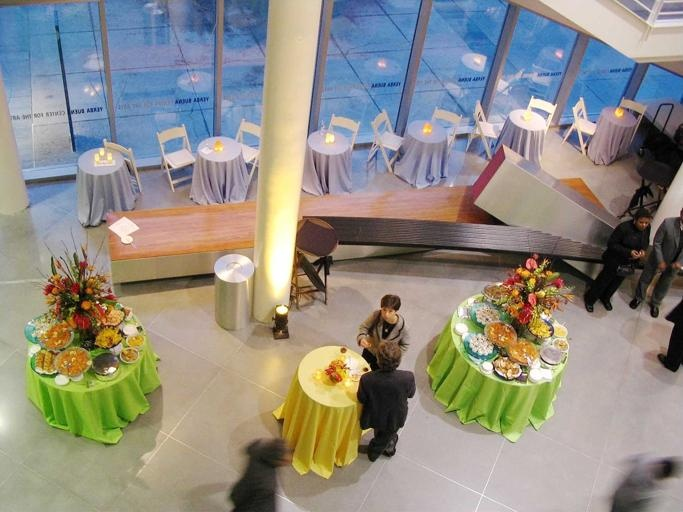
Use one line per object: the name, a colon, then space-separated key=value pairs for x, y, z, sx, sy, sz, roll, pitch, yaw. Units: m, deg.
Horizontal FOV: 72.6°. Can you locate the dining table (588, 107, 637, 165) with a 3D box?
dining table: x=5.580 y=-2.444 z=9.556 sx=0.785 sy=0.957 sz=0.733 roll=-20 pitch=57 yaw=-20

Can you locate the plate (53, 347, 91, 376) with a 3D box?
plate: x=-2.672 y=1.059 z=4.613 sx=0.300 sy=0.141 sz=0.271 roll=23 pitch=38 yaw=30

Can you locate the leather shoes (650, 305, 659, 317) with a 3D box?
leather shoes: x=4.727 y=0.831 z=7.034 sx=0.090 sy=0.077 sz=0.198 roll=-2 pitch=75 yaw=7

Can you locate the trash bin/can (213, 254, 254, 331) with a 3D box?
trash bin/can: x=-1.350 y=0.466 z=5.812 sx=0.542 sy=0.962 sz=0.574 roll=11 pitch=43 yaw=-3

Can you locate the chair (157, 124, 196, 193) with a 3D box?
chair: x=-2.774 y=-1.679 z=7.863 sx=0.603 sy=0.812 sz=0.556 roll=38 pitch=45 yaw=18

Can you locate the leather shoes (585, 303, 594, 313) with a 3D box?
leather shoes: x=3.710 y=0.766 z=6.960 sx=0.062 sy=0.076 sz=0.195 roll=-7 pitch=68 yaw=6

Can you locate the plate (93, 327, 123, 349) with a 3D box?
plate: x=-2.388 y=0.836 z=4.807 sx=0.214 sy=0.103 sz=0.226 roll=4 pitch=50 yaw=-5

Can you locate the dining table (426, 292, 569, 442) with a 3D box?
dining table: x=1.792 y=1.661 z=5.765 sx=1.191 sy=0.675 sz=1.279 roll=11 pitch=-5 yaw=2

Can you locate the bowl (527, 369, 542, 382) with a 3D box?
bowl: x=2.139 y=1.300 z=5.126 sx=0.132 sy=0.075 sz=0.173 roll=17 pitch=35 yaw=23

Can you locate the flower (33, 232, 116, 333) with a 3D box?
flower: x=-2.527 y=0.345 z=4.565 sx=0.475 sy=0.678 sz=0.476 roll=-11 pitch=3 yaw=2

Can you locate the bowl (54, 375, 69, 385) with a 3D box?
bowl: x=-2.737 y=1.204 z=4.534 sx=0.117 sy=0.068 sz=0.098 roll=11 pitch=33 yaw=14

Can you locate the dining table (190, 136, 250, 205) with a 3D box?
dining table: x=-2.014 y=-1.331 z=8.094 sx=1.214 sy=1.159 sz=1.044 roll=0 pitch=54 yaw=-15

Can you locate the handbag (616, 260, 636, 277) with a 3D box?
handbag: x=4.065 y=0.157 z=6.656 sx=0.224 sy=0.236 sz=0.077 roll=-1 pitch=34 yaw=-1

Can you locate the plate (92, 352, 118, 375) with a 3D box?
plate: x=-2.375 y=1.077 z=4.663 sx=0.237 sy=0.084 sz=0.265 roll=-8 pitch=34 yaw=-16

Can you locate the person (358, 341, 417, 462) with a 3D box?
person: x=0.432 y=1.431 z=4.633 sx=0.513 sy=1.519 sz=0.477 roll=-2 pitch=33 yaw=-4

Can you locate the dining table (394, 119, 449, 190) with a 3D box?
dining table: x=1.534 y=-1.922 z=8.730 sx=0.824 sy=0.991 sz=0.931 roll=26 pitch=39 yaw=33

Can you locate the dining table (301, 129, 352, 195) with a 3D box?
dining table: x=-0.252 y=-1.609 z=8.200 sx=0.884 sy=0.954 sz=0.765 roll=2 pitch=31 yaw=0

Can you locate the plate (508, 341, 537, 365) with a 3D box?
plate: x=2.030 y=1.075 z=5.218 sx=0.258 sy=0.062 sz=0.266 roll=24 pitch=53 yaw=12

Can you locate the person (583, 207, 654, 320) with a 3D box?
person: x=4.026 y=0.046 z=6.750 sx=0.756 sy=1.559 sz=0.422 roll=-7 pitch=32 yaw=-15

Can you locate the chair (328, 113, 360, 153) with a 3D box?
chair: x=0.149 y=-2.356 z=8.766 sx=0.407 sy=0.487 sz=0.654 roll=14 pitch=32 yaw=21

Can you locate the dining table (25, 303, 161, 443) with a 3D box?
dining table: x=-2.655 y=1.370 z=5.115 sx=1.089 sy=0.609 sz=1.248 roll=-9 pitch=19 yaw=-11

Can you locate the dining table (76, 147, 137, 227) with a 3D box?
dining table: x=-3.742 y=-1.074 z=7.215 sx=0.837 sy=0.974 sz=0.594 roll=-17 pitch=36 yaw=-28

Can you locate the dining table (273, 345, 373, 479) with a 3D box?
dining table: x=-0.350 y=1.637 z=5.068 sx=1.259 sy=1.208 sz=1.188 roll=12 pitch=45 yaw=-9

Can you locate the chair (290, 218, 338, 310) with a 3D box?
chair: x=-0.372 y=0.027 z=6.072 sx=0.655 sy=0.958 sz=0.530 roll=1 pitch=20 yaw=-27

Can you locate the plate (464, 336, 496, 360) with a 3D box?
plate: x=1.564 y=1.005 z=5.251 sx=0.248 sy=0.059 sz=0.246 roll=-28 pitch=54 yaw=-38

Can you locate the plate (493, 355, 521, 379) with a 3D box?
plate: x=1.822 y=1.228 z=5.136 sx=0.296 sy=0.129 sz=0.244 roll=1 pitch=32 yaw=-3

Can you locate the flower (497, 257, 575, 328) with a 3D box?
flower: x=2.106 y=0.474 z=5.286 sx=0.608 sy=0.846 sz=0.669 roll=-3 pitch=37 yaw=5

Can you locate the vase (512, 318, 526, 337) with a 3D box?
vase: x=2.045 y=0.818 z=5.353 sx=0.065 sy=0.277 sz=0.064 roll=-7 pitch=46 yaw=46

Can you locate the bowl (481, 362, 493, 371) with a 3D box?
bowl: x=1.611 y=1.215 z=5.130 sx=0.140 sy=0.065 sz=0.101 roll=-7 pitch=33 yaw=-15
